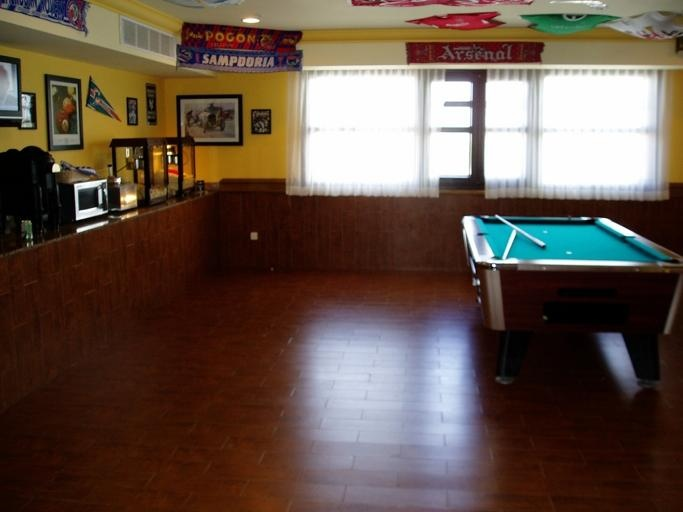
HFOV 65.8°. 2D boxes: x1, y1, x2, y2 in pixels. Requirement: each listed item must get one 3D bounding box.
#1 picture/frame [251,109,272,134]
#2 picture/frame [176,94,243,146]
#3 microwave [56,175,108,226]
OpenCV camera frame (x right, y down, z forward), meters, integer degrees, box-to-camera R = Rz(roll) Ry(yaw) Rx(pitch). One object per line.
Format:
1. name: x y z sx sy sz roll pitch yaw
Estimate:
1. picture/frame: -1.171 -2.012 7.799 0.350 0.398 0.039 0 10 6
2. picture/frame: -1.957 -2.042 7.892 1.021 0.744 0.084 4 13 9
3. microwave: -2.442 -0.541 5.019 0.162 0.399 0.616 3 14 6
